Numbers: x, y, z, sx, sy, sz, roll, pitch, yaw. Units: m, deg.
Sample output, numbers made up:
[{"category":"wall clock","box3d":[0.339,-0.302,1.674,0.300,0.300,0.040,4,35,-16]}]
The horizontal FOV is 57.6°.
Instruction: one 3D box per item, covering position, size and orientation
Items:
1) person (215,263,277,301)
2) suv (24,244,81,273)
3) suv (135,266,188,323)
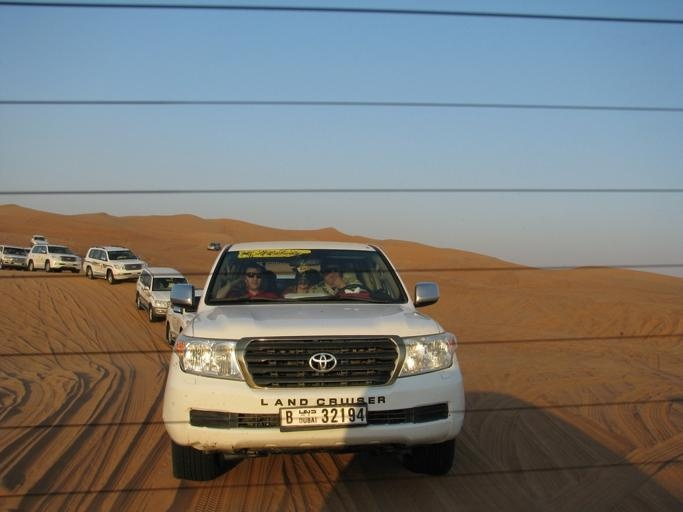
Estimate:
[{"category":"person","box3d":[-0.942,0.264,6.863,0.954,0.337,0.237,-4,9,-16]},{"category":"suv","box3d":[-14.458,0.114,31.110,1.378,0.898,2.921,3,-5,-43]},{"category":"suv","box3d":[-5.013,1.051,18.757,2.128,1.352,3.635,0,1,-26]}]
